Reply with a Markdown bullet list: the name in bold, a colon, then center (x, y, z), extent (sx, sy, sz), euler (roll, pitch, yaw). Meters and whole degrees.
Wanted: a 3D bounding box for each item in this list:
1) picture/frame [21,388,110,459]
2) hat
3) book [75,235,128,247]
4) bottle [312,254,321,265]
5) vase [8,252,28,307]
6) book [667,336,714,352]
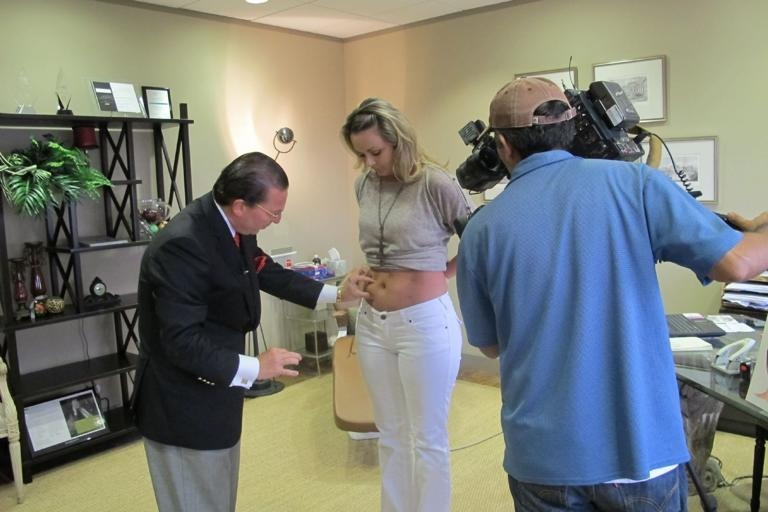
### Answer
- **picture/frame**: center (-2.205, 1.167, 3.768), extent (0.499, 0.362, 0.052), euler (-14, -17, -35)
- **hat**: center (0.481, -0.499, 1.863), extent (0.239, 0.138, 0.177), euler (6, 22, 38)
- **book**: center (-2.023, -0.108, 3.957), extent (0.305, 0.052, 0.392), euler (-11, 13, -30)
- **bottle**: center (-0.657, 0.037, 5.339), extent (0.099, 0.137, 0.071), euler (-2, -6, 0)
- **vase**: center (-2.486, 0.166, 3.749), extent (0.103, 0.321, 0.268), euler (-12, 14, -33)
- **book**: center (1.385, 0.399, 2.474), extent (0.168, 0.039, 0.161), euler (-2, 2, 5)
